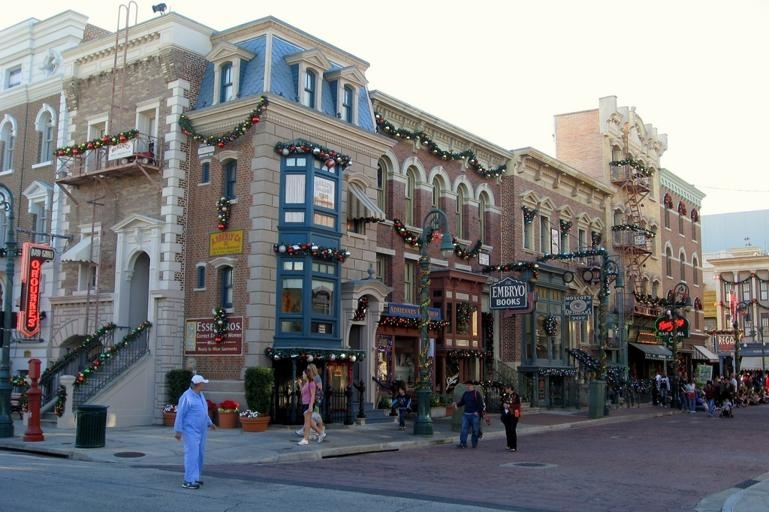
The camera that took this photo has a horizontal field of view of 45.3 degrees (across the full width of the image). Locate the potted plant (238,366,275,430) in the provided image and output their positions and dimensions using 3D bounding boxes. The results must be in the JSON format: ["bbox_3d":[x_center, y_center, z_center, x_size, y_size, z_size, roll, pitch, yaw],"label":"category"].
[{"bbox_3d":[-5.064,5.805,37.225,1.271,2.618,1.579,1,-13,-8],"label":"potted plant"}]

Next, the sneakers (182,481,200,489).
[{"bbox_3d":[-5.537,6.619,26.526,0.497,0.226,0.184,-3,-9,16],"label":"sneakers"}]

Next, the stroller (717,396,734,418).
[{"bbox_3d":[18.162,8.080,48.870,0.709,1.032,1.679,-5,-13,19],"label":"stroller"}]

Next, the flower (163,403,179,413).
[{"bbox_3d":[-8.901,6.410,38.612,0.518,0.276,0.504,1,-4,6],"label":"flower"}]

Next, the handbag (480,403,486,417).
[{"bbox_3d":[3.685,5.725,34.084,0.161,0.474,0.624,-3,-13,10],"label":"handbag"}]

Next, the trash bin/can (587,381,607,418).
[{"bbox_3d":[10.719,7.260,46.191,0.744,1.860,0.976,-1,-9,32],"label":"trash bin/can"}]
